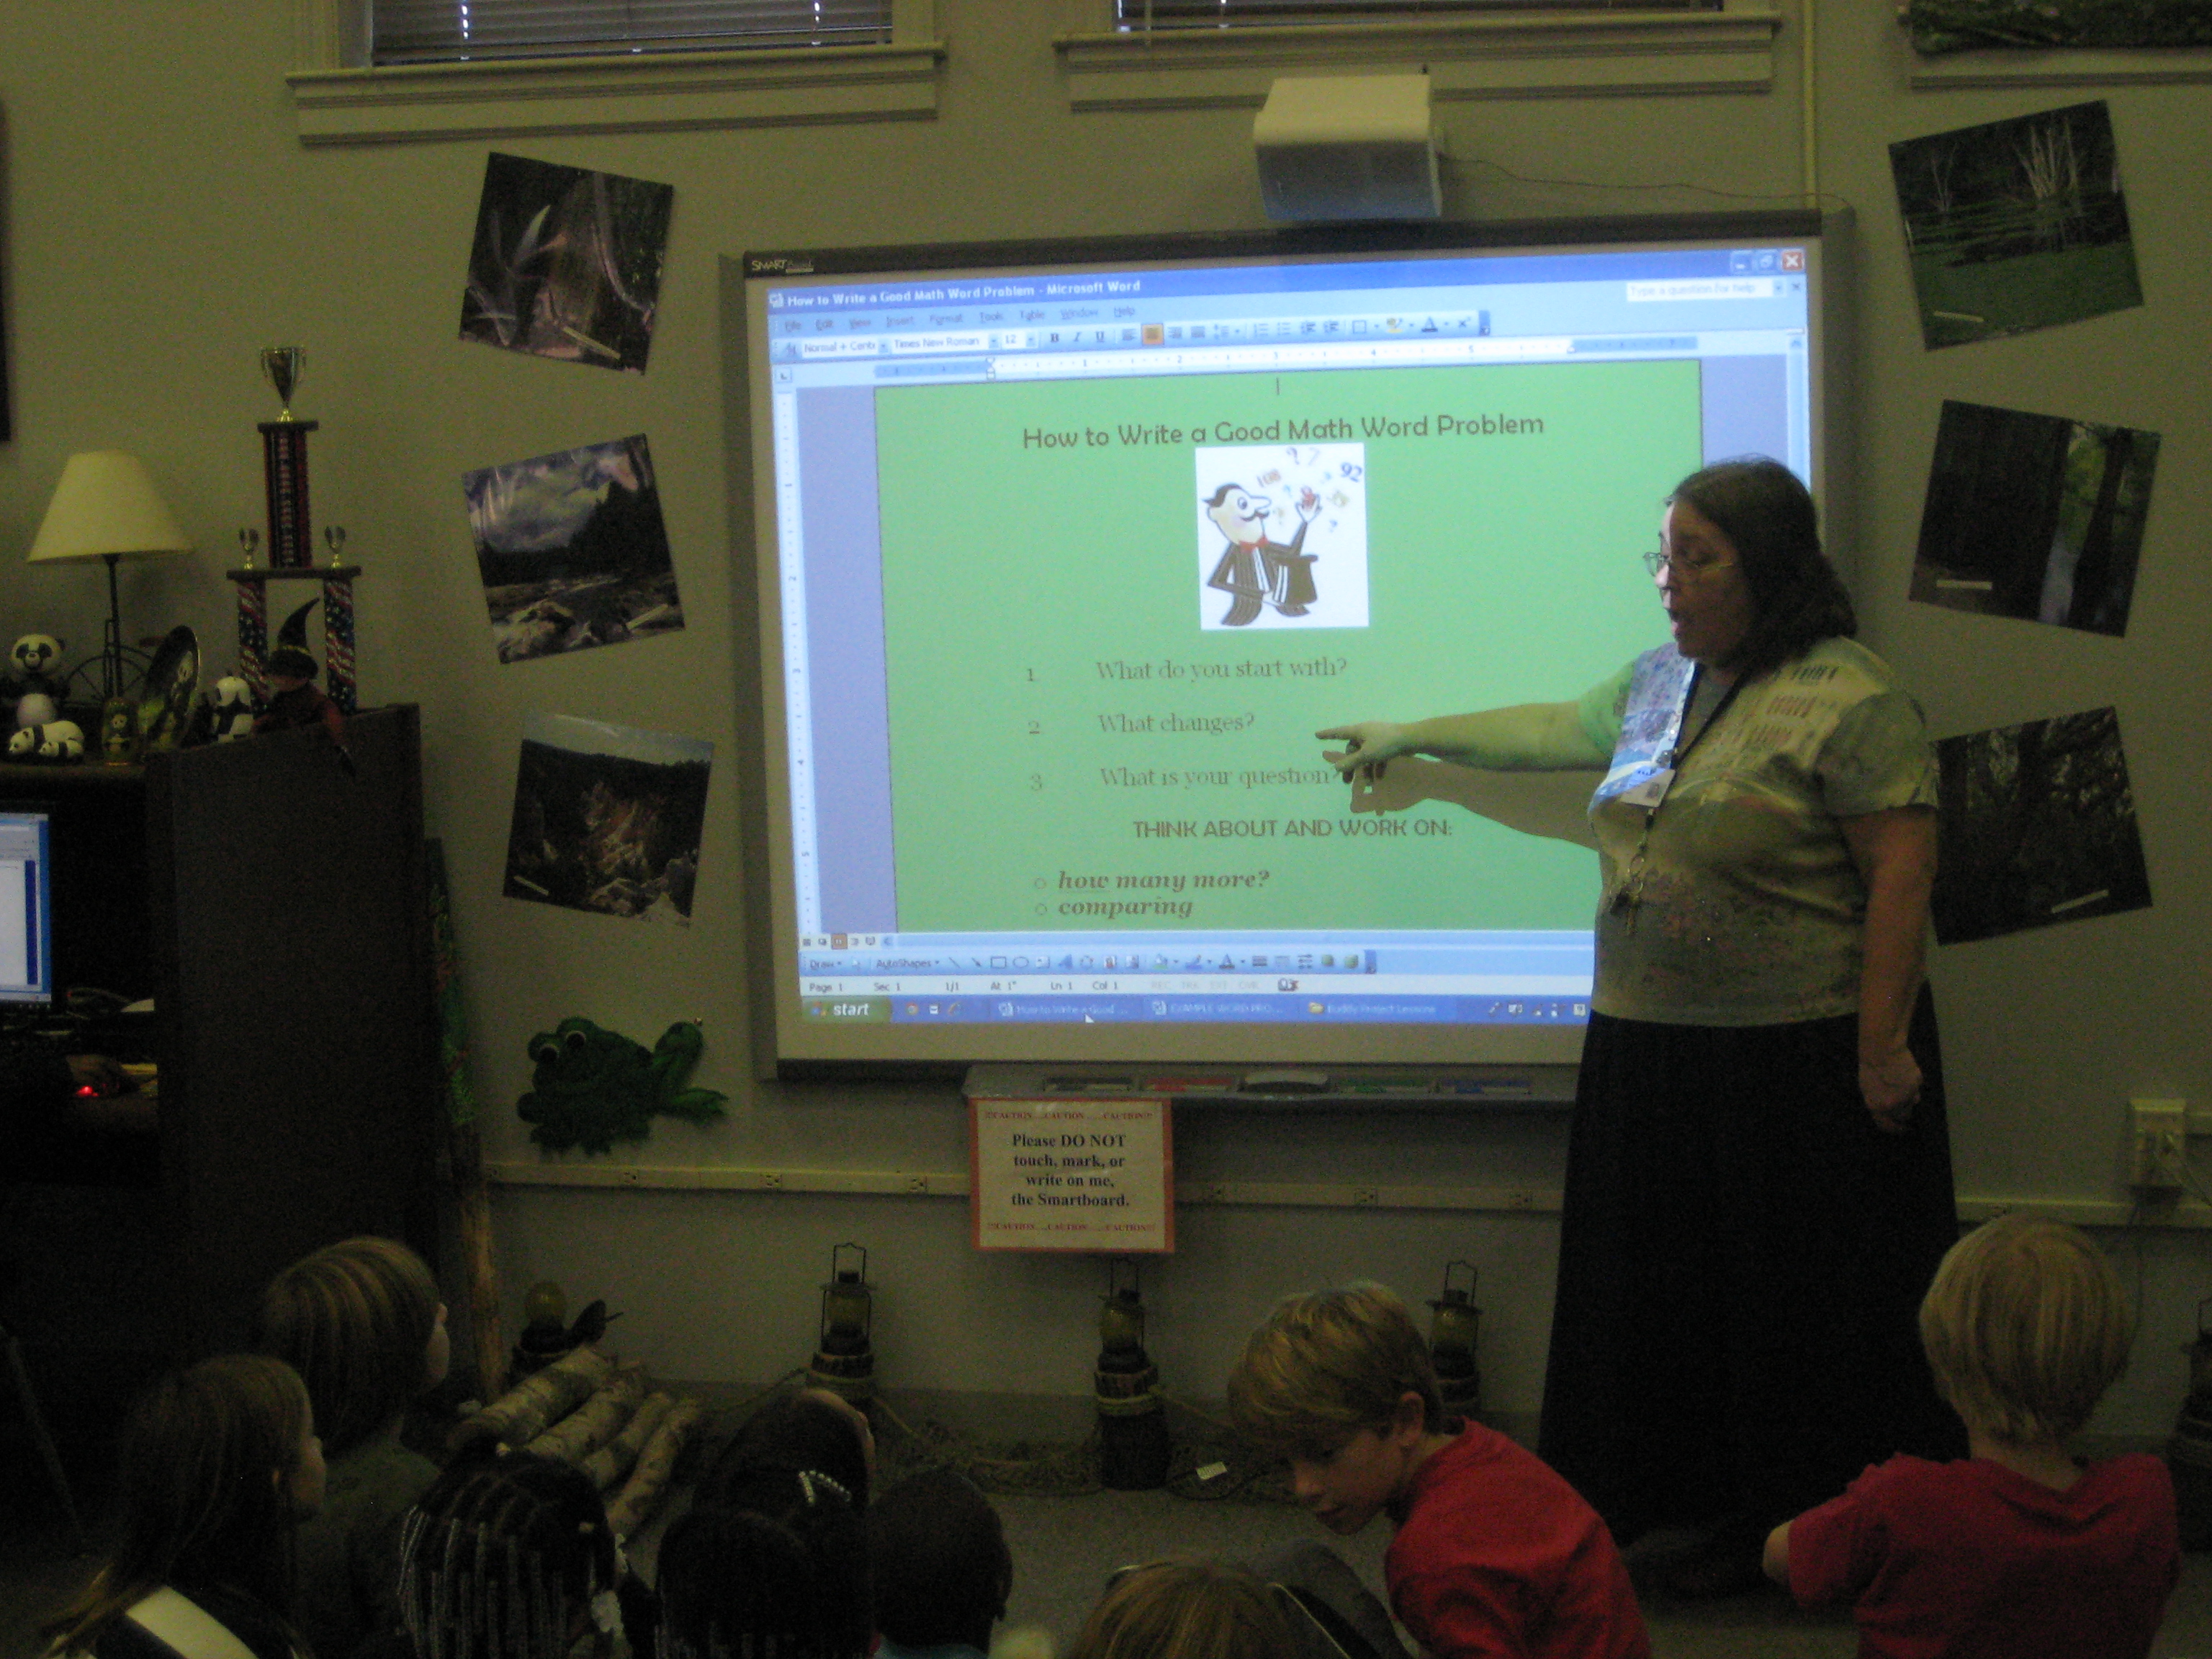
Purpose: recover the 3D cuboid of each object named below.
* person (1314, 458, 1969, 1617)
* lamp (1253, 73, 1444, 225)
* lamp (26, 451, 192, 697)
[{"bbox_3d":[1.070,0.356,3.541,0.669,1.924,0.285,0,0,22],"label":"person"},{"bbox_3d":[0.460,-1.281,3.930,0.313,0.213,0.230,2,-31,16],"label":"lamp"},{"bbox_3d":[-2.048,-0.524,4.320,0.285,0.492,0.345,0,1,-26],"label":"lamp"}]
